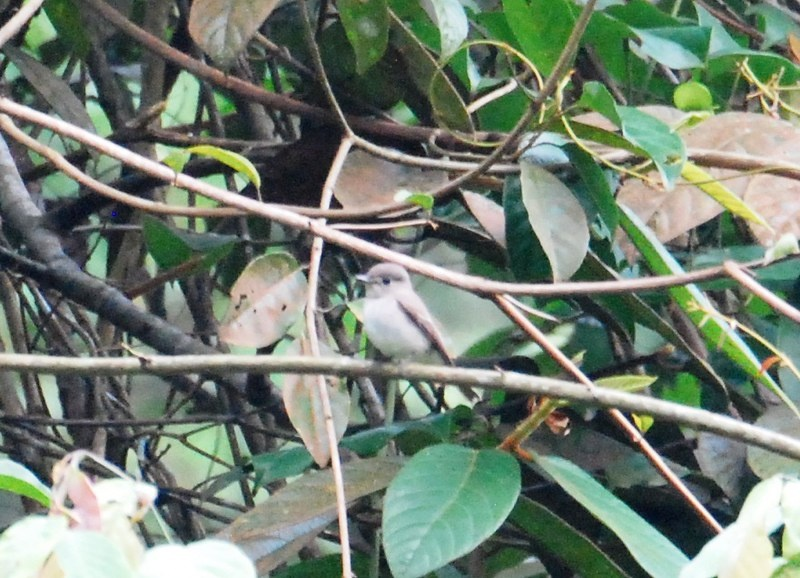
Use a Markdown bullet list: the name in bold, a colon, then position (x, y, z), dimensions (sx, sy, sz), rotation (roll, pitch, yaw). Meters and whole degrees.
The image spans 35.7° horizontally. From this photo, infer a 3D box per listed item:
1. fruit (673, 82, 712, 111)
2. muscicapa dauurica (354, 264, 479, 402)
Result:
- **fruit**: position (0.390, -0.256, 1.636), dimensions (0.036, 0.039, 0.060), rotation (-24, 17, -32)
- **muscicapa dauurica**: position (0.031, 0.049, 1.726), dimensions (0.242, 0.137, 0.080), rotation (14, -3, -35)
